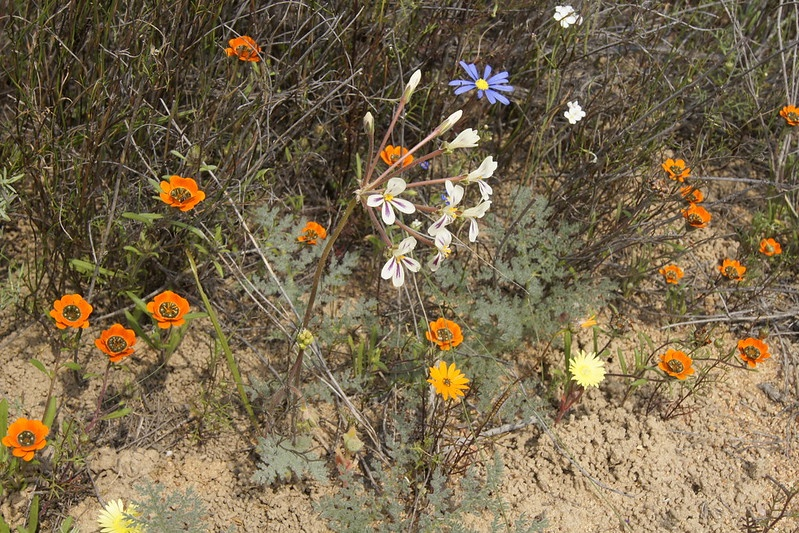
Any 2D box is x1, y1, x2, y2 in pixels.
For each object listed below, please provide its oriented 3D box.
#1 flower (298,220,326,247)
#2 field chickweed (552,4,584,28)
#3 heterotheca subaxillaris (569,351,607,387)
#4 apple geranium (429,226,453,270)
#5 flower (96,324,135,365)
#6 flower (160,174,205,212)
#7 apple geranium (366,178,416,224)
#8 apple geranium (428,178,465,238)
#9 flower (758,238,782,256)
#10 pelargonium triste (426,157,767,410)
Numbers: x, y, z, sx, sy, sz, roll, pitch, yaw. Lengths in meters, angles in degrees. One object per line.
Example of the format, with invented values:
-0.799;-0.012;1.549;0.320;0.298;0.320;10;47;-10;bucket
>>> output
-0.535;-0.193;4.146;0.156;0.114;0.130;11;53;-3;flower
1.039;-1.527;4.197;0.194;0.057;0.207;-23;66;-42;field chickweed
1.083;0.590;3.986;0.216;0.258;0.107;-20;99;-9;heterotheca subaxillaris
0.193;-0.101;3.332;0.216;0.238;0.100;8;75;11;apple geranium
-1.518;0.430;3.655;0.171;0.203;0.194;-3;54;-13;flower
-1.188;-0.398;3.695;0.200;0.096;0.214;37;62;-6;flower
-0.047;-0.316;3.198;0.212;0.102;0.222;-42;113;-16;apple geranium
0.213;-0.250;3.233;0.096;0.278;0.222;28;48;10;apple geranium
2.459;-0.124;4.509;0.129;0.063;0.161;-9;95;-6;flower
1.229;0.142;4.269;2.028;0.962;1.362;4;54;-9;pelargonium triste
